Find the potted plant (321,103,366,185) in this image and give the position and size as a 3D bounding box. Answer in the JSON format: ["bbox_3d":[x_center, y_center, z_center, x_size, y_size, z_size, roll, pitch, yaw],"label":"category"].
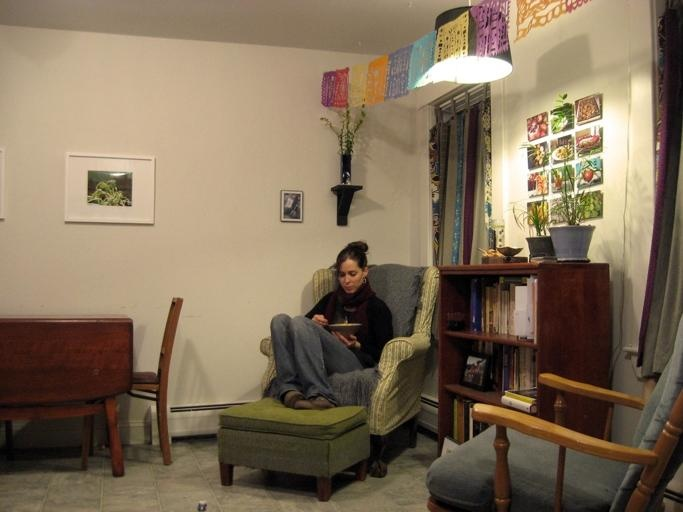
[{"bbox_3d":[0.033,-0.938,4.563,0.415,0.698,0.298,0,3,-8],"label":"potted plant"}]

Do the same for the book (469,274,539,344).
[{"bbox_3d":[0.992,0.303,3.298,0.292,0.418,0.408,3,-5,-22],"label":"book"}]

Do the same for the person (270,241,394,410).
[{"bbox_3d":[-0.065,0.420,3.700,0.536,1.008,0.924,3,3,39],"label":"person"}]

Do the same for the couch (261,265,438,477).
[{"bbox_3d":[0.069,0.709,3.893,1.293,1.418,1.365,2,-7,-9],"label":"couch"}]

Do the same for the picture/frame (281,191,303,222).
[{"bbox_3d":[-0.421,-0.413,4.519,0.223,0.332,0.013,3,-7,-16],"label":"picture/frame"}]

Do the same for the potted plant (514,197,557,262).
[{"bbox_3d":[1.179,-0.171,3.358,0.224,0.365,0.600,1,2,16],"label":"potted plant"}]

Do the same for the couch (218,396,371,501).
[{"bbox_3d":[-0.209,0.930,3.208,0.698,0.405,0.509,0,-1,29],"label":"couch"}]

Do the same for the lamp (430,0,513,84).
[{"bbox_3d":[0.813,-1.274,3.325,0.530,0.351,0.454,2,3,34],"label":"lamp"}]

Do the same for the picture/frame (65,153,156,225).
[{"bbox_3d":[-1.825,-0.517,4.208,0.514,0.464,0.023,2,-6,-13],"label":"picture/frame"}]
